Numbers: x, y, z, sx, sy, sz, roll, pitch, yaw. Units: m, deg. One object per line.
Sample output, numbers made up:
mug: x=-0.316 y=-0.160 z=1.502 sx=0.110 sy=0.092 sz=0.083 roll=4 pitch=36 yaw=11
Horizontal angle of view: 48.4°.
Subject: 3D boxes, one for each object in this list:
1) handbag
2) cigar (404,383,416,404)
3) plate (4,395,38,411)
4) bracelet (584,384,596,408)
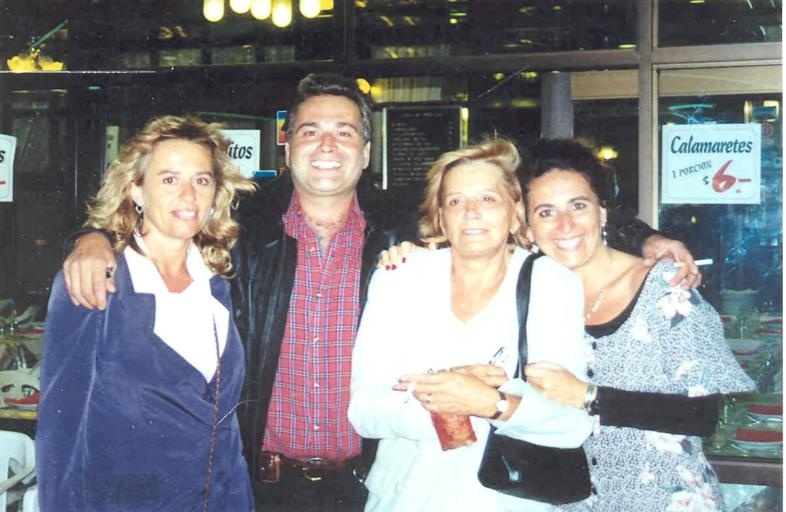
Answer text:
handbag: x=0.694 y=0.604 z=4.300 sx=0.544 sy=1.214 sz=0.210 roll=0 pitch=3 yaw=3
cigar: x=0.084 y=0.686 z=4.342 sx=0.060 sy=0.091 sz=0.023 roll=15 pitch=21 yaw=29
plate: x=-2.426 y=0.961 z=5.705 sx=0.165 sy=0.083 sz=0.121 roll=-4 pitch=-7 yaw=14
bracelet: x=0.988 y=0.708 z=4.384 sx=0.046 sy=0.109 sz=0.082 roll=9 pitch=-7 yaw=4
